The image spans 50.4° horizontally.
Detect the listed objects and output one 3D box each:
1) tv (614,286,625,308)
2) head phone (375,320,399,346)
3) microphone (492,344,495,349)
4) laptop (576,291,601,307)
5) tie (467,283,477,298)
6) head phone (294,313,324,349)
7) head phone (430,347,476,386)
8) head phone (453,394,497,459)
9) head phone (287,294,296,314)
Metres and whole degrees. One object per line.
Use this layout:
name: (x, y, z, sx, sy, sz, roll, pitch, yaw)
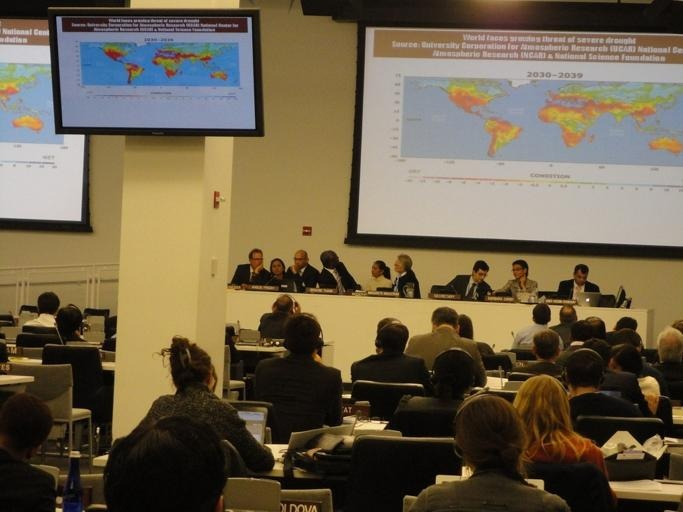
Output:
tv: (3.854, 0.578, 10.079, 0.046, 0.205, 0.148, 15, -14, 14)
head phone: (0.342, 0.565, 5.700, 0.161, 0.227, 0.222, 5, -23, -5)
microphone: (1.883, 1.133, 9.036, 0.047, 0.069, 0.076, 0, -3, 6)
laptop: (3.092, 0.528, 9.128, 0.238, 0.176, 0.175, 0, 8, 10)
tie: (1.883, 0.508, 10.504, 0.161, 0.228, 0.117, -1, -18, 22)
head phone: (-0.234, 0.508, 4.720, 0.187, 0.199, 0.208, 0, -6, 11)
head phone: (0.652, 0.669, 4.199, 0.268, 0.274, 0.210, 3, -5, -7)
head phone: (0.488, 0.626, 2.685, 0.154, 0.224, 0.218, 3, 5, 4)
head phone: (-0.549, 0.542, 8.092, 0.154, 0.205, 0.109, -3, 8, -4)
